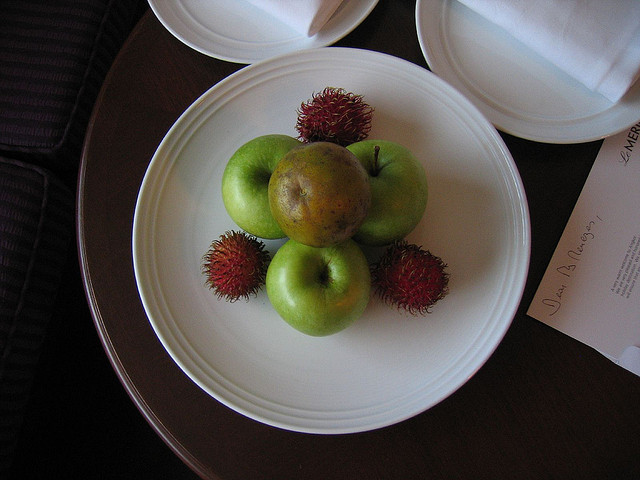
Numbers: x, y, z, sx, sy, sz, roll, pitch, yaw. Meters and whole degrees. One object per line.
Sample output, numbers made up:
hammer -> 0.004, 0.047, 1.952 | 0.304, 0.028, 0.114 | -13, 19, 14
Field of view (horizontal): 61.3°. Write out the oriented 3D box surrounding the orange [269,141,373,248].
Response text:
orange -> 0.004, -0.062, 0.709 | 0.121, 0.146, 0.164 | 2, 99, 3

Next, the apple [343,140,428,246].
apple -> 0.090, -0.058, 0.807 | 0.132, 0.153, 0.176 | 4, 113, 7

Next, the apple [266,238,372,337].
apple -> -0.004, 0.081, 0.676 | 0.110, 0.121, 0.144 | 0, 73, -1

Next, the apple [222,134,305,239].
apple -> -0.092, -0.087, 0.817 | 0.113, 0.120, 0.142 | -18, 85, -7
